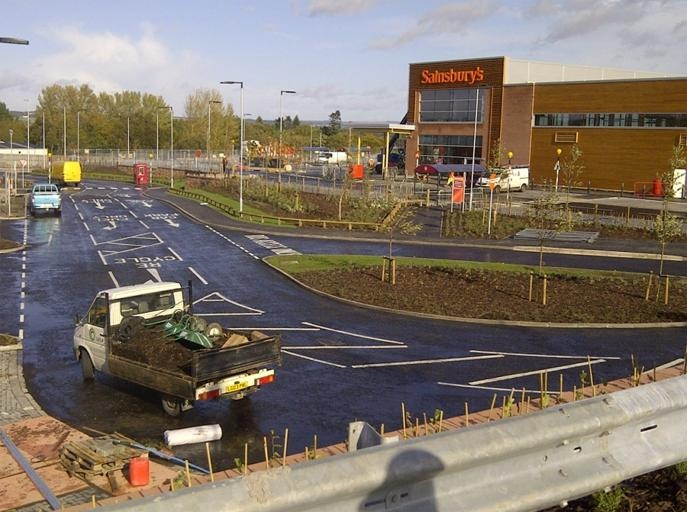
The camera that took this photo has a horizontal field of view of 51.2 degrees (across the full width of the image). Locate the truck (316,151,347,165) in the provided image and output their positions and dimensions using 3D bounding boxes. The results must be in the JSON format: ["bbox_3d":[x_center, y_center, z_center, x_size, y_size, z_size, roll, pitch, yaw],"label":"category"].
[{"bbox_3d":[-1.155,-16.890,123.823,5.735,2.253,3.311,-3,9,-29],"label":"truck"}]

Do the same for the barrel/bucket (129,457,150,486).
[{"bbox_3d":[-3.670,3.884,13.082,0.438,0.499,0.444,2,-1,0],"label":"barrel/bucket"}]

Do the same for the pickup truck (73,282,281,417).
[{"bbox_3d":[-4.394,2.364,17.624,5.541,2.536,2.601,14,15,35],"label":"pickup truck"}]

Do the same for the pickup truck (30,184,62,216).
[{"bbox_3d":[-22.608,-4.181,54.473,1.808,1.664,3.871,-3,16,-27],"label":"pickup truck"}]
